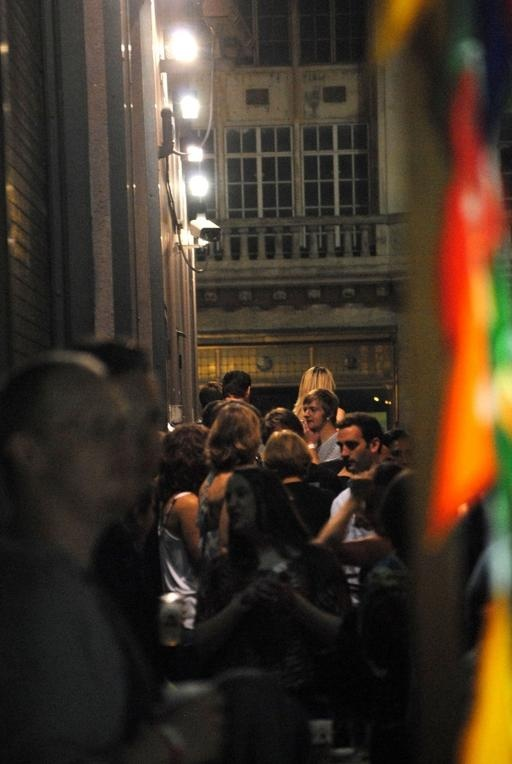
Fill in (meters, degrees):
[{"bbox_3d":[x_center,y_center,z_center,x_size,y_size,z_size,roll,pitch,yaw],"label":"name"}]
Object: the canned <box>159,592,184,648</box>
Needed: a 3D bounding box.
[{"bbox_3d":[-0.110,0.315,1.128,0.035,0.062,0.036,0,-7,-5],"label":"canned"}]
